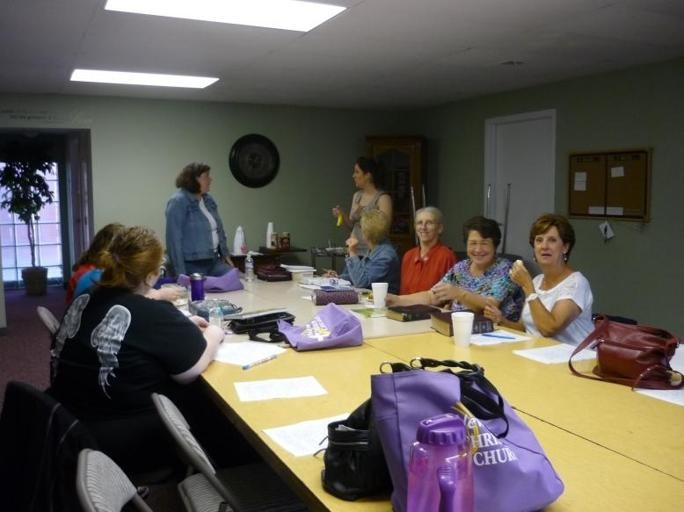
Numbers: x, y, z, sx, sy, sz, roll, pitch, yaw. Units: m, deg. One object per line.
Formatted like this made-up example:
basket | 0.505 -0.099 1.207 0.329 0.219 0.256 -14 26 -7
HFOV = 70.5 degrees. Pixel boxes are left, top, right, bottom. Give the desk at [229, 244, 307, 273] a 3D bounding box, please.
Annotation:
desk | -0.961 0.022 6.715 0.831 0.318 1.380 0 6 5

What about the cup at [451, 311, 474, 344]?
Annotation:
cup | 0.555 0.328 2.247 0.130 0.159 0.135 -1 -4 0

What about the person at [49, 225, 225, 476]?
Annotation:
person | -1.228 0.505 2.985 0.650 0.461 1.653 1 -39 -11

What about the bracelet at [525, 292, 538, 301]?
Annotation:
bracelet | 1.007 0.213 2.593 0.044 0.017 0.046 -10 5 -10

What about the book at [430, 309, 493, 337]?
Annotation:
book | 0.621 0.347 2.489 0.172 0.051 0.179 -1 3 -26

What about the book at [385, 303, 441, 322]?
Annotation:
book | 0.408 0.328 2.808 0.300 0.060 0.214 2 7 16

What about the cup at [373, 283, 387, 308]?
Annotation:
cup | 0.238 0.242 3.048 0.119 0.151 0.126 -1 -7 0
